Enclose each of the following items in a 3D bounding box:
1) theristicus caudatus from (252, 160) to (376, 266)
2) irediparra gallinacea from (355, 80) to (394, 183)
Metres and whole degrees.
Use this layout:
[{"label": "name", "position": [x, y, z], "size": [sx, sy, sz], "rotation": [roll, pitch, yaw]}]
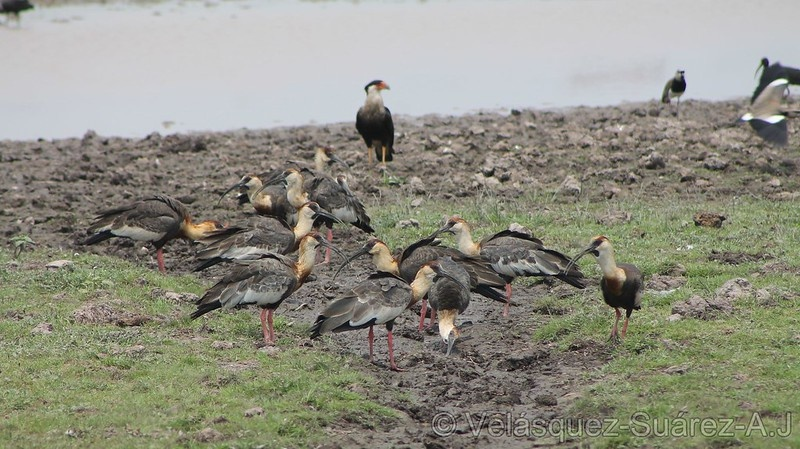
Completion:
[{"label": "theristicus caudatus", "position": [-3.412, -0.766, 32.124], "size": [5.782, 2.959, 1.842], "rotation": [1, 0, 3]}, {"label": "irediparra gallinacea", "position": [-0.929, -3.591, 38.396], "size": [1.778, 3.043, 1.656], "rotation": [0, 2, -10]}]
